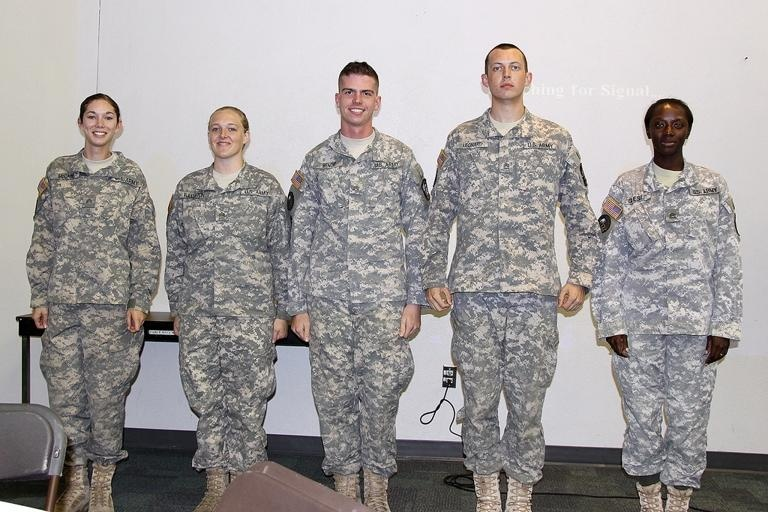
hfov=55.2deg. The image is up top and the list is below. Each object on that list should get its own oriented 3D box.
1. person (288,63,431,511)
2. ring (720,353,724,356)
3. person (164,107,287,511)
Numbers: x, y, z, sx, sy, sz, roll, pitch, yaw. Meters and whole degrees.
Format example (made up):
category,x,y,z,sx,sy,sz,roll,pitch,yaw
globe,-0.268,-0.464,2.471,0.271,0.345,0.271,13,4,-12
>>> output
category,x,y,z,sx,sy,sz,roll,pitch,yaw
person,-0.156,0.142,4.242,0.784,2.490,0.406,2,-8,-8
ring,1.871,0.547,4.077,0.016,0.014,0.016,1,0,0
person,-0.958,0.301,4.409,0.763,2.383,0.376,2,-8,-2
